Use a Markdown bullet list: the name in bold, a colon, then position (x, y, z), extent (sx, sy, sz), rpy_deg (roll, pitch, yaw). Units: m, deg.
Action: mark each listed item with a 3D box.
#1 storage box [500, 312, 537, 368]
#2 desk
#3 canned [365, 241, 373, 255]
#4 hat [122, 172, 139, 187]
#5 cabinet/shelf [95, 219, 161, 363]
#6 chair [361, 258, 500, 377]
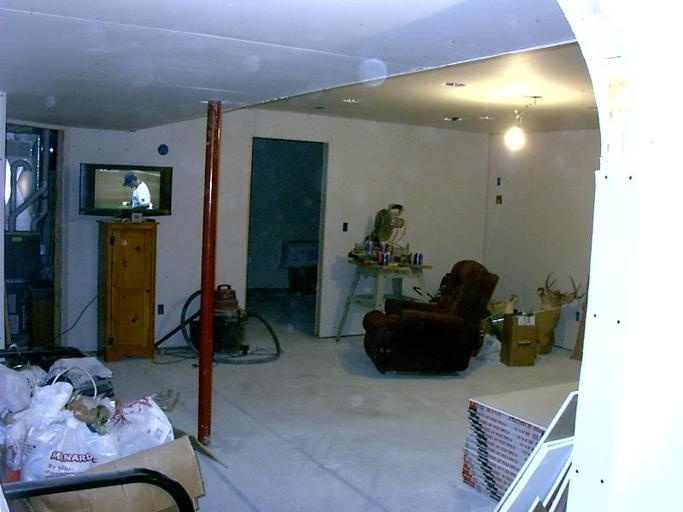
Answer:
- **storage box**: position (2.018, 0.954, 6.401), extent (0.421, 0.580, 0.425), rpy_deg (5, 4, 31)
- **desk**: position (0.569, 0.538, 6.929), extent (0.967, 0.961, 0.829), rpy_deg (0, 5, -28)
- **canned**: position (0.331, -0.109, 6.957), extent (0.110, 0.153, 0.214), rpy_deg (3, 7, 2)
- **hat**: position (-2.149, -0.780, 5.671), extent (0.104, 0.077, 0.147), rpy_deg (2, 20, -5)
- **cabinet/shelf**: position (-2.122, 0.355, 5.888), extent (0.578, 1.401, 0.453), rpy_deg (0, -3, 4)
- **chair**: position (0.932, 0.557, 6.143), extent (1.262, 1.220, 1.226), rpy_deg (2, 0, -7)
